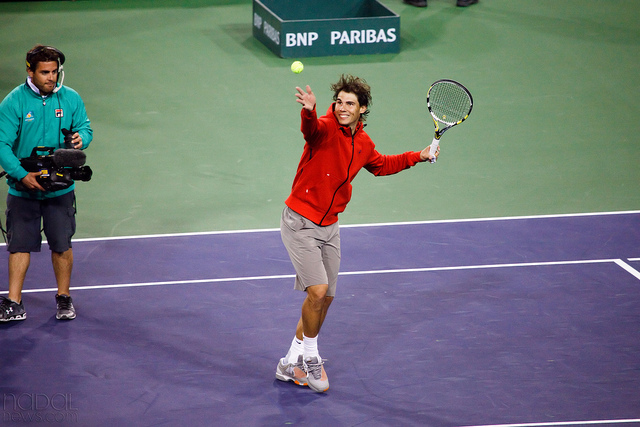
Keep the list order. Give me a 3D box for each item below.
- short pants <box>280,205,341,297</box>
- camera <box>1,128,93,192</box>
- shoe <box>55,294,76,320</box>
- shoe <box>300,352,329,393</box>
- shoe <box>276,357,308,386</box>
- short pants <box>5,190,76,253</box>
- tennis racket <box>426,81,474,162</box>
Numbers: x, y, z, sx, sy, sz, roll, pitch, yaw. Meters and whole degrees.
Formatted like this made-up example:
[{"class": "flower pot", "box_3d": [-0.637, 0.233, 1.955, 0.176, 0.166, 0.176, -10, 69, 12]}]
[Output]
[{"class": "short pants", "box_3d": [-0.101, 0.397, 6.724, 0.627, 0.914, 0.520, 1, 18, -1]}, {"class": "camera", "box_3d": [-2.906, -0.575, 7.157, 1.002, 0.478, 0.582, -3, 5, 4]}, {"class": "shoe", "box_3d": [-2.979, 1.094, 7.578, 0.151, 0.158, 0.355, -2, 17, -19]}, {"class": "shoe", "box_3d": [-0.052, 1.634, 6.846, 0.233, 0.239, 0.548, -2, 25, -26]}, {"class": "shoe", "box_3d": [-0.321, 1.689, 6.942, 0.422, 0.203, 0.161, 7, 7, 34]}, {"class": "short pants", "box_3d": [-3.211, 0.076, 7.425, 0.736, 0.966, 0.344, 1, -2, -21]}, {"class": "tennis racket", "box_3d": [1.716, -1.253, 9.297, 0.665, 1.679, 0.113, 27, 58, 13]}]
